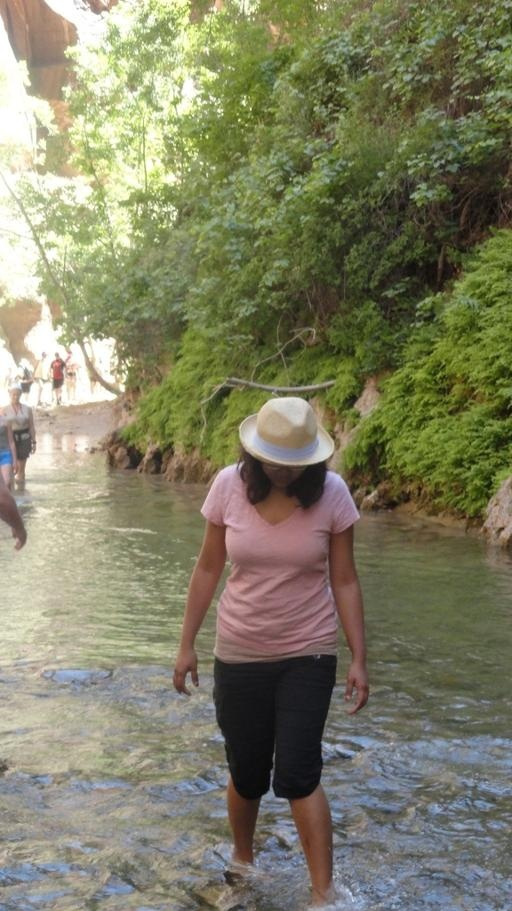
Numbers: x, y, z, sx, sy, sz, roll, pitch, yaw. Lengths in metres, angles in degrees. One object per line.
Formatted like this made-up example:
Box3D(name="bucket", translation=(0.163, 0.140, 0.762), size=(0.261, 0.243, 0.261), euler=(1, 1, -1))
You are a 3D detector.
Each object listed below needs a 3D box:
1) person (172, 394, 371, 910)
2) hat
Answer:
Box3D(name="person", translation=(0.121, 0.702, 3.361), size=(0.605, 1.804, 0.789), euler=(-14, 13, -35))
Box3D(name="hat", translation=(0.109, -0.088, 3.333), size=(0.340, 0.243, 0.385), euler=(-6, 10, -1))
